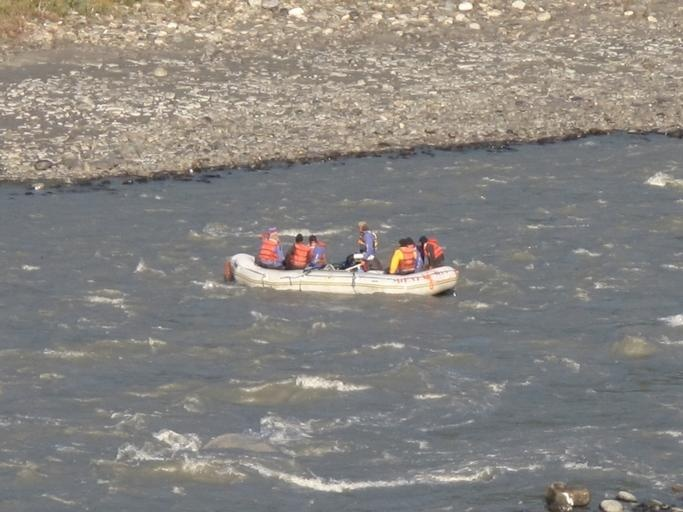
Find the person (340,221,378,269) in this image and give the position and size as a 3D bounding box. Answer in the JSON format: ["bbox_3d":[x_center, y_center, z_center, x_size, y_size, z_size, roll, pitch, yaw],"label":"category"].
[{"bbox_3d":[0.578,-0.300,55.252,1.102,1.773,1.146,12,26,10],"label":"person"}]

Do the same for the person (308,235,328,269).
[{"bbox_3d":[-0.765,-0.092,54.478,0.845,0.951,0.997,2,24,6],"label":"person"}]

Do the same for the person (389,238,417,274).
[{"bbox_3d":[1.995,-0.015,53.550,0.910,1.147,0.571,0,21,3],"label":"person"}]
